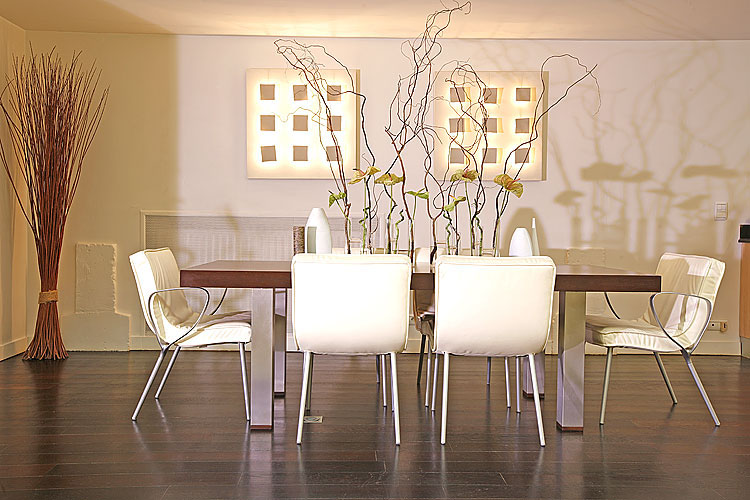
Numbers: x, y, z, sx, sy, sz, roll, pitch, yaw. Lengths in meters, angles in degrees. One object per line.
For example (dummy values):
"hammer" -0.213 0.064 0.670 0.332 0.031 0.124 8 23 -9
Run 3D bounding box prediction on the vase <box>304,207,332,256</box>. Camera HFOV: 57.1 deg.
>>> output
"vase" -0.413 -0.119 4.916 0.254 0.328 0.247 0 3 -25

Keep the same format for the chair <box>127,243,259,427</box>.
"chair" -1.485 0.583 5.498 1.210 1.641 1.230 0 1 -3

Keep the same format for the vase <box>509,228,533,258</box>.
"vase" 1.061 -0.045 4.849 0.200 0.215 0.204 1 0 20

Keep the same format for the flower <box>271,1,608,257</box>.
"flower" 0.547 -1.177 6.263 2.254 1.563 0.416 1 5 -2
